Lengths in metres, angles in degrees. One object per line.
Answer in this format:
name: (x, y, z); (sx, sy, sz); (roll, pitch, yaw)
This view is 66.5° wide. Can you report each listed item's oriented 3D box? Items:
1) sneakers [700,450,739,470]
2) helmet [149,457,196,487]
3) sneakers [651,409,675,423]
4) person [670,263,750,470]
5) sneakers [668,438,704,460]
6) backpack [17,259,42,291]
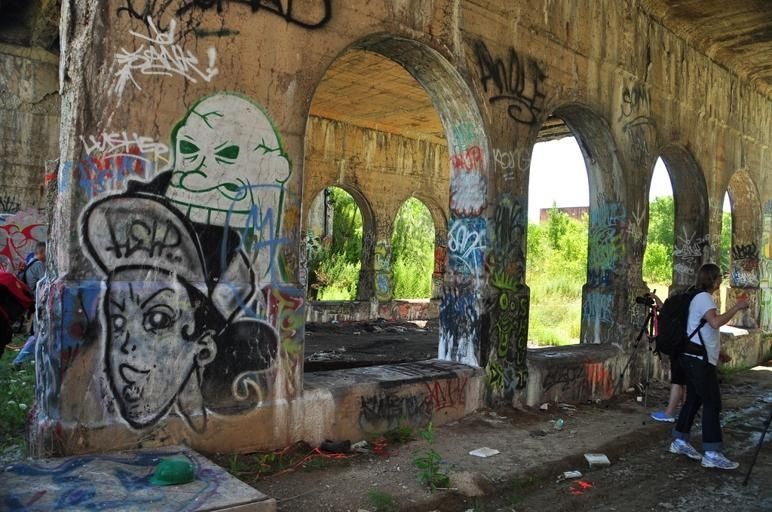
sneakers: (4.503, 2.742, 8.016); (0.475, 0.253, 0.235); (-2, 1, 12)
helmet: (-2.168, 2.168, 6.011); (0.423, 0.208, 0.339); (4, 5, -22)
sneakers: (4.613, 2.655, 9.817); (0.277, 0.145, 0.142); (2, -2, 36)
person: (4.438, 1.483, 8.092); (0.710, 2.322, 0.734); (7, 5, 29)
sneakers: (4.165, 2.657, 8.283); (0.190, 0.264, 0.487); (2, 5, -45)
backpack: (-5.779, 0.307, 9.549); (0.205, 0.398, 0.363); (11, 3, -41)
